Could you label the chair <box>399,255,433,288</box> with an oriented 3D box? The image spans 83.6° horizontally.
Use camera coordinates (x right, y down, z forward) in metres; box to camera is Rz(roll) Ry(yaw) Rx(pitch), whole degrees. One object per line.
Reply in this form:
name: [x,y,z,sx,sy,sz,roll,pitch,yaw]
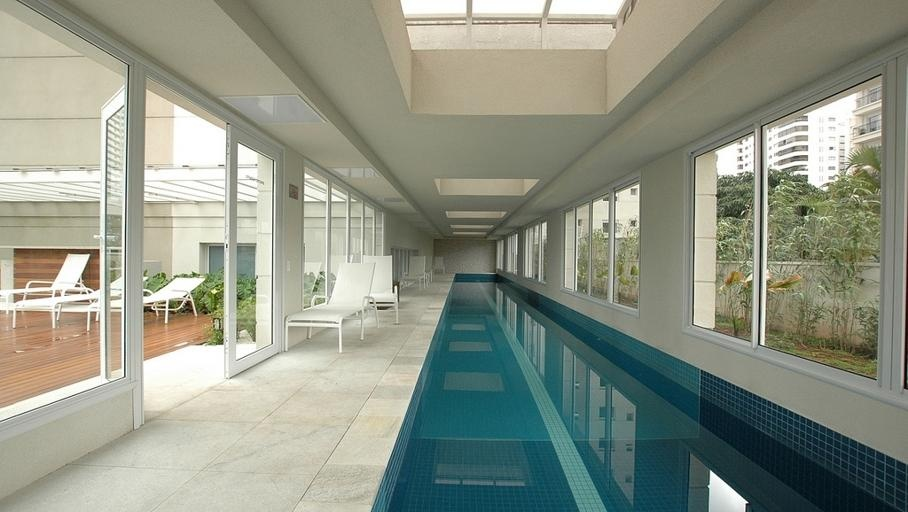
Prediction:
chair: [-1.356,0.567,17.617,0.787,0.847,1.309,-1,-2,12]
